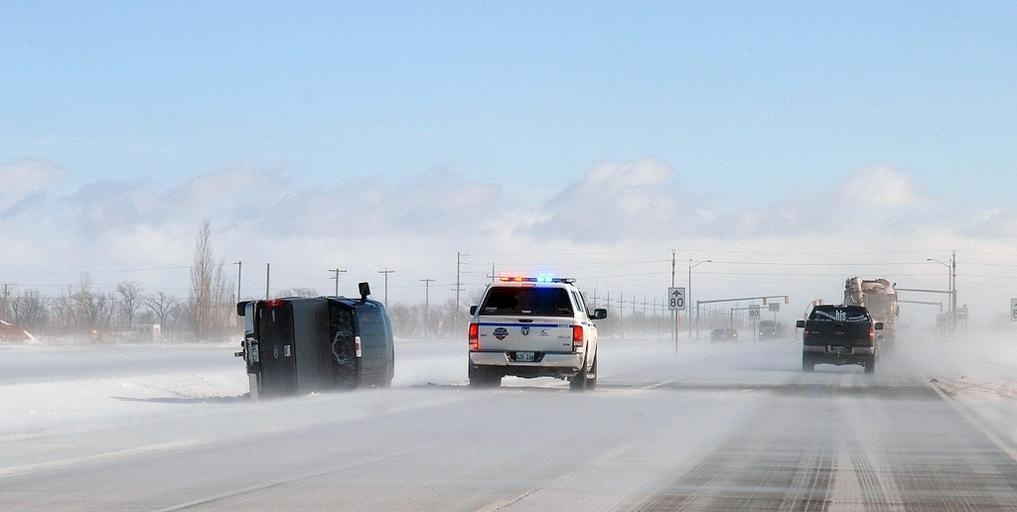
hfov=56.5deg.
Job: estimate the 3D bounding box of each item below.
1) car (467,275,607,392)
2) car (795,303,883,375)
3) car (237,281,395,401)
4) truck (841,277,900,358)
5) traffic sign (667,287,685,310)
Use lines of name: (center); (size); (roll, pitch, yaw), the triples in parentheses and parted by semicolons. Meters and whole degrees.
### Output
car: (0.808, 2.567, 31.086); (4.068, 3.172, 2.441); (2, -1, -3)
car: (15.857, 3.124, 45.153); (3.631, 2.397, 6.290); (2, 22, 16)
car: (-6.356, 2.876, 32.970); (4.848, 2.421, 2.929); (4, -12, -39)
truck: (24.993, 4.397, 64.963); (3.217, 2.598, 5.062); (-4, 29, 21)
traffic sign: (10.335, 2.651, 58.298); (0.894, 1.052, 0.600); (2, -1, -7)
